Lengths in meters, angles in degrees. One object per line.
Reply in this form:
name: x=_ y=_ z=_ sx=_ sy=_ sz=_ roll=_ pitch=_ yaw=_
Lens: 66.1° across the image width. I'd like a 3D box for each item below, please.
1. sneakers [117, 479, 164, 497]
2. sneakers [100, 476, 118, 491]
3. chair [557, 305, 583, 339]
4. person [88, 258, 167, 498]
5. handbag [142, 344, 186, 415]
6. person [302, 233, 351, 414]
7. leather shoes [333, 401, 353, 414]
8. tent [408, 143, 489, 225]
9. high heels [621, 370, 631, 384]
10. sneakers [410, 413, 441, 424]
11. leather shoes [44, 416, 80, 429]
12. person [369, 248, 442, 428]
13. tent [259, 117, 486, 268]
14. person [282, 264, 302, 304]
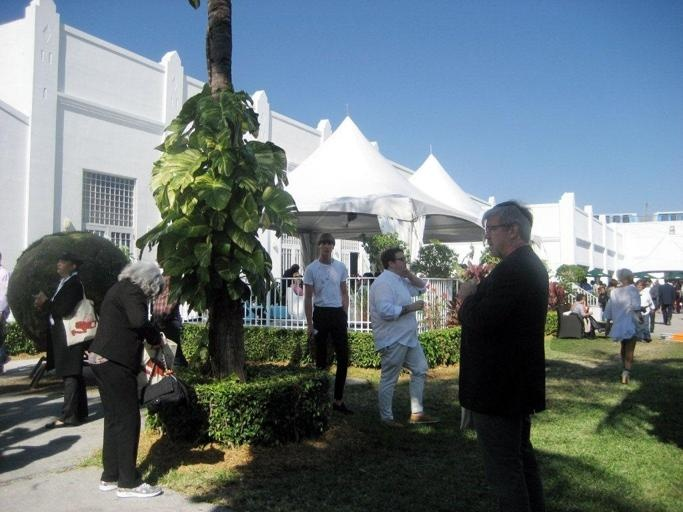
sneakers: x=-1.905 y=2.221 z=4.996 sx=0.400 sy=0.196 sz=0.164 roll=0 pitch=-7 yaw=-4
sneakers: x=-2.272 y=2.233 z=5.142 sx=0.185 sy=0.109 sz=0.093 roll=1 pitch=-3 yaw=3
chair: x=6.890 y=2.053 z=15.973 sx=0.644 sy=0.952 sz=0.706 roll=0 pitch=-1 yaw=14
person: x=-2.110 y=1.166 z=5.088 sx=0.694 sy=2.232 sz=0.434 roll=0 pitch=1 yaw=-12
handbag: x=-1.889 y=1.196 z=5.383 sx=0.425 sy=0.681 sz=0.301 roll=-10 pitch=-11 yaw=-4
person: x=-0.233 y=0.912 z=7.530 sx=0.632 sy=2.488 sz=0.928 roll=0 pitch=1 yaw=-5
leather shoes: x=-0.003 y=2.105 z=7.291 sx=0.327 sy=0.157 sz=0.114 roll=3 pitch=1 yaw=27
tent: x=2.807 y=-1.609 z=14.764 sx=2.647 sy=1.643 sz=2.802 roll=2 pitch=-9 yaw=38
high heels: x=5.147 y=2.219 z=9.515 sx=0.137 sy=0.228 sz=0.458 roll=-2 pitch=-18 yaw=19
sneakers: x=1.095 y=2.105 z=6.874 sx=0.377 sy=0.168 sz=0.153 roll=-1 pitch=-4 yaw=-4
leather shoes: x=-3.660 y=2.186 z=6.900 sx=0.426 sy=0.138 sz=0.161 roll=7 pitch=-9 yaw=-25
person: x=0.756 y=1.031 z=6.934 sx=0.780 sy=2.270 sz=0.517 roll=0 pitch=1 yaw=1
tent: x=0.212 y=-1.572 z=12.858 sx=4.151 sy=2.427 sz=4.315 roll=-1 pitch=0 yaw=43
person: x=-1.148 y=0.698 z=12.265 sx=0.425 sy=0.961 sz=0.363 roll=-9 pitch=-22 yaw=14
